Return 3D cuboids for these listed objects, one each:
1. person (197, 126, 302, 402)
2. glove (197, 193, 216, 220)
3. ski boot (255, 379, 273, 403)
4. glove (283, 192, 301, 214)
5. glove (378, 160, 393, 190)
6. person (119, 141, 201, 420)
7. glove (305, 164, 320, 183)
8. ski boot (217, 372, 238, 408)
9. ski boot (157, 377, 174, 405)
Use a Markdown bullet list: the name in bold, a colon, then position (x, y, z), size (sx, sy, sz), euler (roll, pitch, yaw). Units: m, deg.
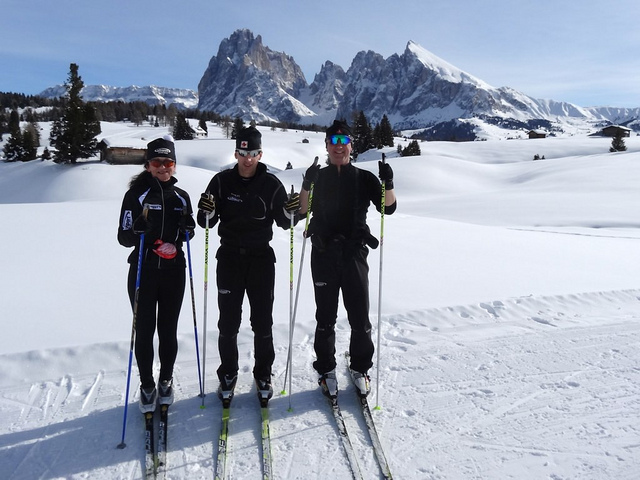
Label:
- **person**: position (-1.095, 0.390, 7.890), size (1.220, 4.084, 1.059), euler (2, 13, -3)
- **glove**: position (-1.690, -0.500, 7.813), size (0.255, 0.403, 0.294), euler (0, 14, -12)
- **ski boot**: position (-0.844, 2.328, 7.933), size (0.266, 0.316, 0.294), euler (1, 14, -8)
- **glove**: position (-0.425, -0.542, 8.003), size (0.270, 0.333, 0.360), euler (3, 14, -3)
- **glove**: position (1.036, -1.050, 8.258), size (0.141, 0.427, 0.300), euler (-11, -12, -19)
- **person**: position (-2.425, 0.563, 7.693), size (0.867, 3.910, 1.052), euler (6, 14, 14)
- **glove**: position (-0.119, -1.032, 8.115), size (0.206, 0.283, 0.277), euler (5, 14, 7)
- **ski boot**: position (-1.384, 2.272, 7.865), size (0.176, 0.335, 0.572), euler (14, 11, -13)
- **ski boot**: position (-2.302, 2.290, 7.789), size (0.232, 0.398, 0.252), euler (-1, 14, -17)
